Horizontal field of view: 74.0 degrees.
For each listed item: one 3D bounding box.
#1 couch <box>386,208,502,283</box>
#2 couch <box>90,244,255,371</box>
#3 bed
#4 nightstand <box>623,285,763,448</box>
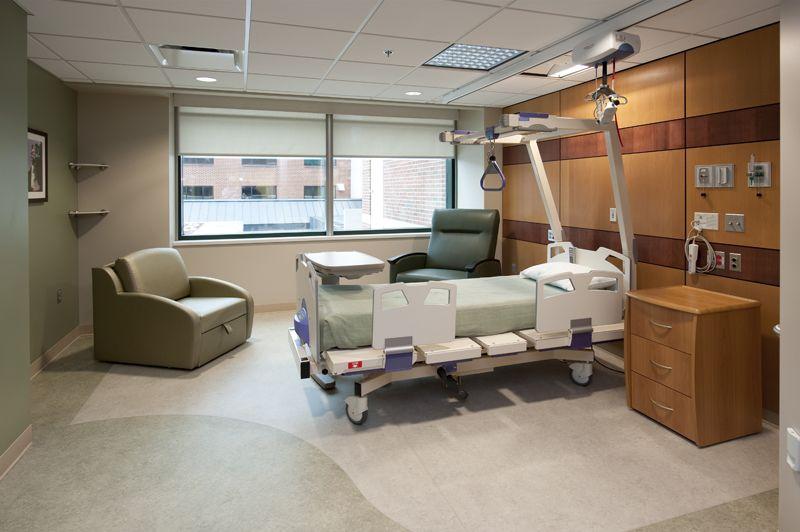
[{"bbox_3d":[0.603,-0.125,6.737,1.184,1.262,0.983,6,7,32],"label":"couch"},{"bbox_3d":[-2.281,0.332,5.825,1.414,1.345,1.250,1,4,8],"label":"couch"},{"bbox_3d":[0.384,0.202,4.632,2.296,1.013,1.608,-5,9,-19],"label":"bed"},{"bbox_3d":[2.403,0.768,4.397,0.768,1.009,0.898,-4,6,-7],"label":"nightstand"}]
